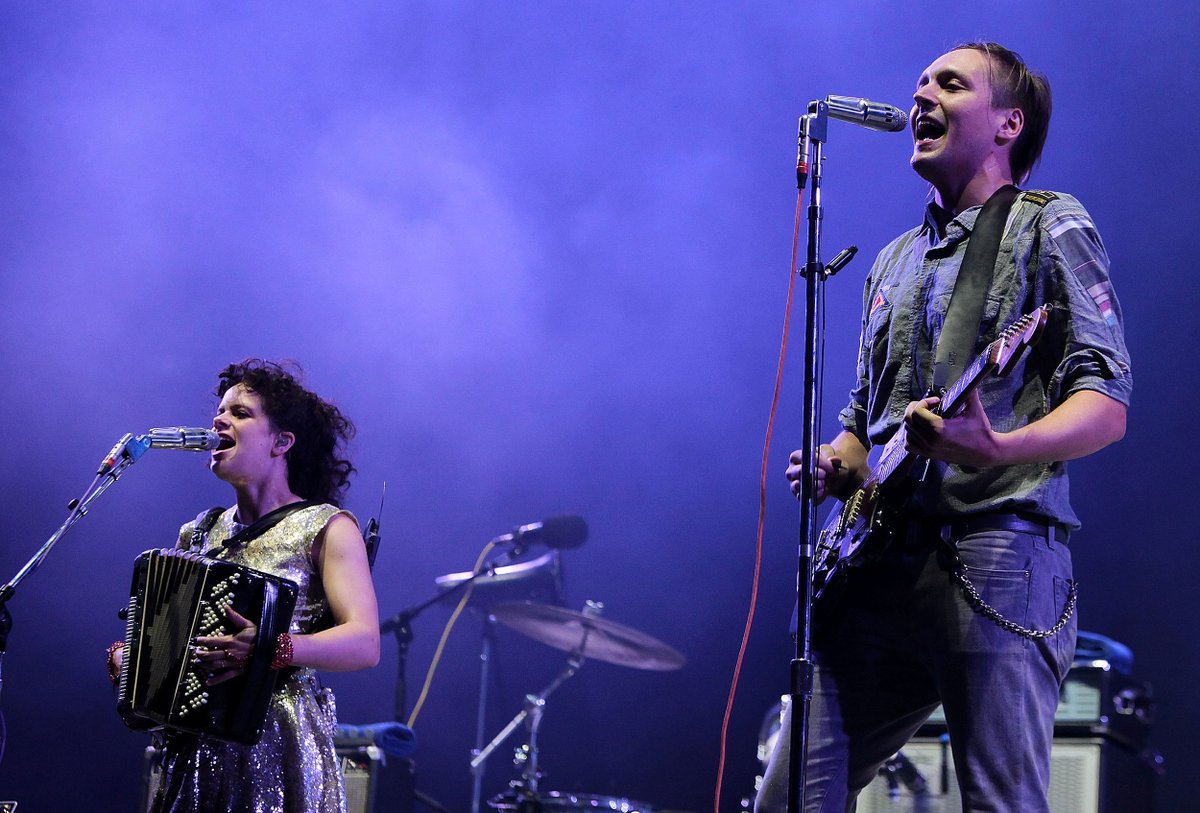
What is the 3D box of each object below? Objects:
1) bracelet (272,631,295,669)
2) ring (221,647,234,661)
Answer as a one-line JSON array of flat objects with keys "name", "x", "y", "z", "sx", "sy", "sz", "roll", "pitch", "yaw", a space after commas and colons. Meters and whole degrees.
[{"name": "bracelet", "x": -1.278, "y": 0.995, "z": 5.314, "sx": 0.045, "sy": 0.122, "sz": 0.101, "roll": 2, "pitch": -15, "yaw": -6}, {"name": "ring", "x": -1.488, "y": 0.989, "z": 5.236, "sx": 0.048, "sy": 0.050, "sz": 0.012, "roll": 5, "pitch": -8, "yaw": -22}]
